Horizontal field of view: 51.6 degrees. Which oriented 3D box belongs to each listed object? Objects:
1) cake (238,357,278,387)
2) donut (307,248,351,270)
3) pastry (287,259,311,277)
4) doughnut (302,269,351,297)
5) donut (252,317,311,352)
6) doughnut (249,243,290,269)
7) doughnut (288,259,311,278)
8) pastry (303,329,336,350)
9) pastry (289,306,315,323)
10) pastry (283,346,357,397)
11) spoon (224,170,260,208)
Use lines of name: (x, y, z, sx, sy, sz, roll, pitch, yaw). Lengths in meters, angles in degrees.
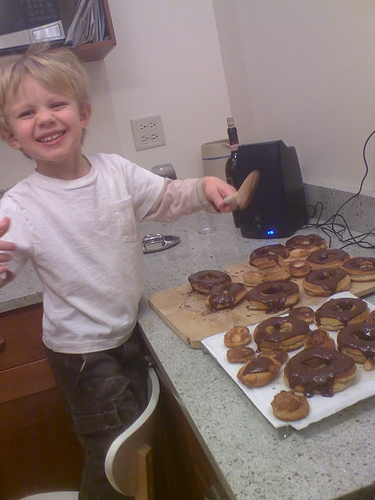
cake: (0.090, 0.154, 0.490, 0.031, 0.014, 0.040, 0, 14, 43)
donut: (0.318, 0.008, 0.852, 0.061, 0.021, 0.059, -13, 10, -7)
pastry: (0.247, 0.039, 0.852, 0.038, 0.013, 0.038, 1, 26, 11)
doughnut: (0.254, 0.050, 0.759, 0.094, 0.047, 0.118, 1, 16, 6)
donut: (0.141, 0.135, 0.597, 0.085, 0.028, 0.079, -8, 5, 7)
doughnut: (0.201, 0.014, 0.956, 0.070, 0.024, 0.068, -24, 14, -11)
doughnut: (0.248, 0.040, 0.854, 0.038, 0.013, 0.040, 7, 35, 40)
pastry: (0.187, 0.126, 0.549, 0.033, 0.019, 0.032, -6, 19, 5)
pastry: (0.193, 0.104, 0.643, 0.027, 0.007, 0.025, -7, 9, -20)
pastry: (0.164, 0.148, 0.481, 0.082, 0.029, 0.082, -27, 21, -37)
spoon: (0.094, -0.098, 0.644, 0.022, 0.046, 0.088, -23, -5, -27)
